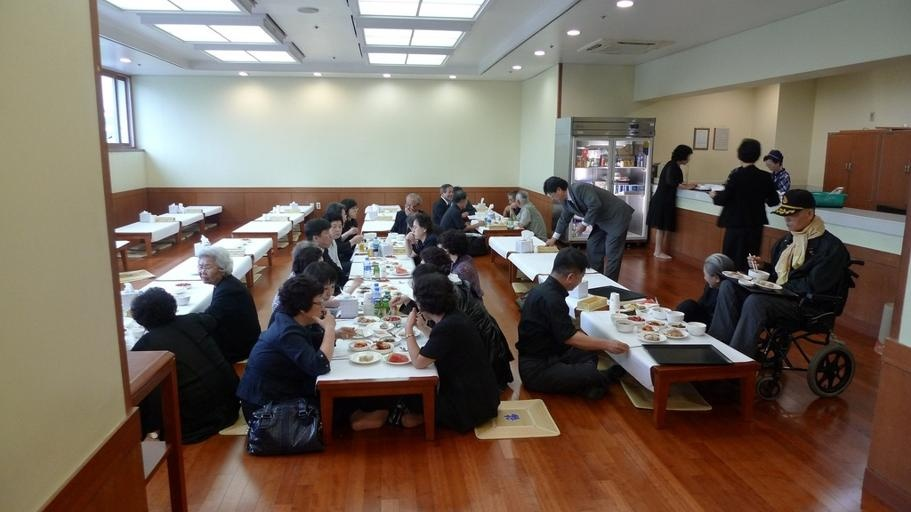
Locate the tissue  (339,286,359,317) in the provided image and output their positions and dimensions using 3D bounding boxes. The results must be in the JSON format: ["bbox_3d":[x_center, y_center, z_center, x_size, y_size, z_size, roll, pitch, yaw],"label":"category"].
[{"bbox_3d":[-1.077,0.457,5.591,0.203,0.244,0.264,-1,8,-1],"label":"tissue "}]

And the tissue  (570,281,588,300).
[{"bbox_3d":[1.325,0.333,5.981,0.177,0.229,0.259,0,4,27],"label":"tissue "}]

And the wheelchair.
[{"bbox_3d":[3.418,0.619,5.652,1.134,1.352,1.033,7,7,-5],"label":"wheelchair"}]

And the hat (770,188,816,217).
[{"bbox_3d":[3.350,-0.524,5.458,0.391,0.178,0.243,-5,10,3],"label":"hat"}]

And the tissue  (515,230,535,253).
[{"bbox_3d":[0.972,-0.202,7.888,0.368,0.349,0.242,1,4,-12],"label":"tissue "}]
